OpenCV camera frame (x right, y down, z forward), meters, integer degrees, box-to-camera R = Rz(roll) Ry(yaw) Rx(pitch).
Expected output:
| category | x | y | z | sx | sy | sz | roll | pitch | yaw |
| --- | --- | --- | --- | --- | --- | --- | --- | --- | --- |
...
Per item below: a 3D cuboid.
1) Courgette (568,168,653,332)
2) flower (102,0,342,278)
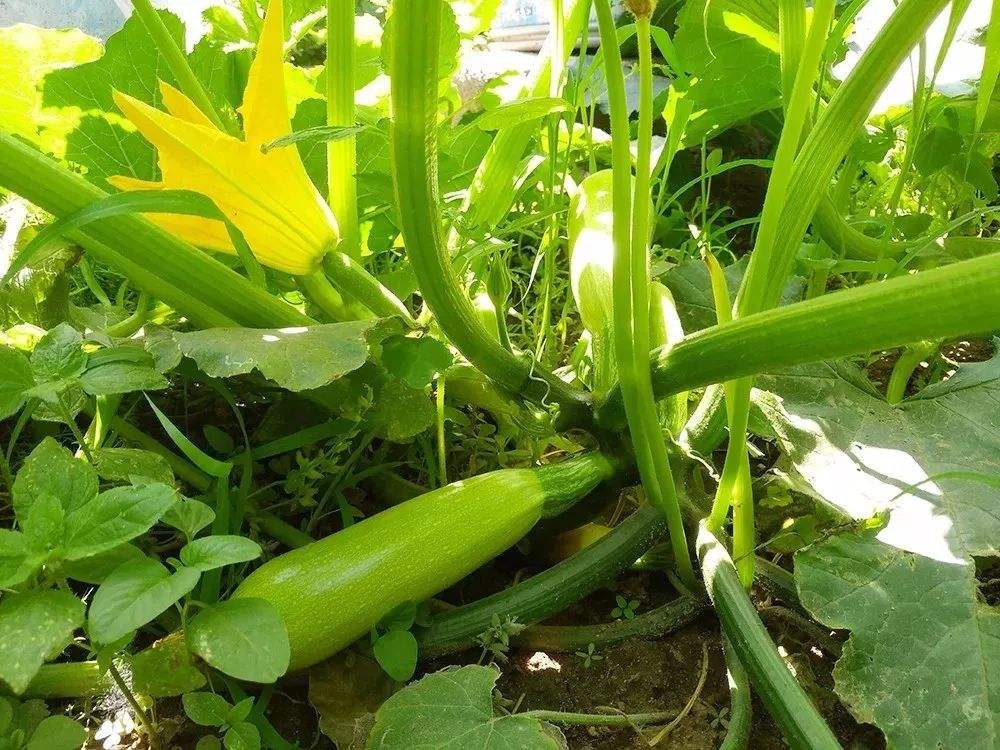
| category | x | y | z | sx | sy | sz | roll | pitch | yaw |
| --- | --- | --- | --- | --- | --- | --- | --- | --- | --- |
| Courgette | 0.174 | -0.205 | 1.306 | 0.087 | 0.087 | 0.256 | -14 | 62 | 32 |
| flower | -0.365 | -0.303 | 1.185 | 0.365 | 0.161 | 0.332 | -40 | 84 | 0 |
